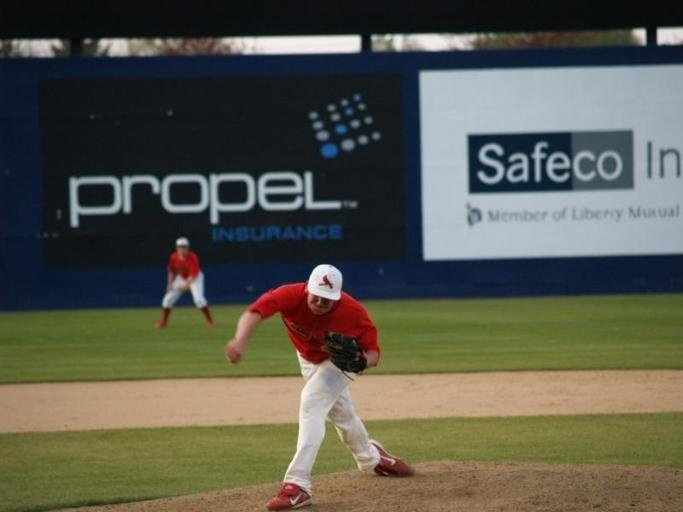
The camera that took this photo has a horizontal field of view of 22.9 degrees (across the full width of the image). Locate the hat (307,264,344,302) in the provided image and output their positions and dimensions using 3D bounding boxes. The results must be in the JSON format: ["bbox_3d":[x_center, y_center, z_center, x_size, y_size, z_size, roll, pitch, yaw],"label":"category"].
[{"bbox_3d":[-0.294,0.421,28.453,0.571,0.582,0.270,-1,2,4],"label":"hat"}]

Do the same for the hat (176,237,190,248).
[{"bbox_3d":[-3.404,-0.308,35.774,0.228,0.128,0.334,0,-3,-10],"label":"hat"}]

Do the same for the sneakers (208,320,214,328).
[{"bbox_3d":[-2.812,1.381,36.013,0.135,0.131,0.190,1,-12,-2],"label":"sneakers"}]

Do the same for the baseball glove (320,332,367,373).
[{"bbox_3d":[0.063,1.584,28.377,0.427,0.713,0.534,-33,24,39],"label":"baseball glove"}]
